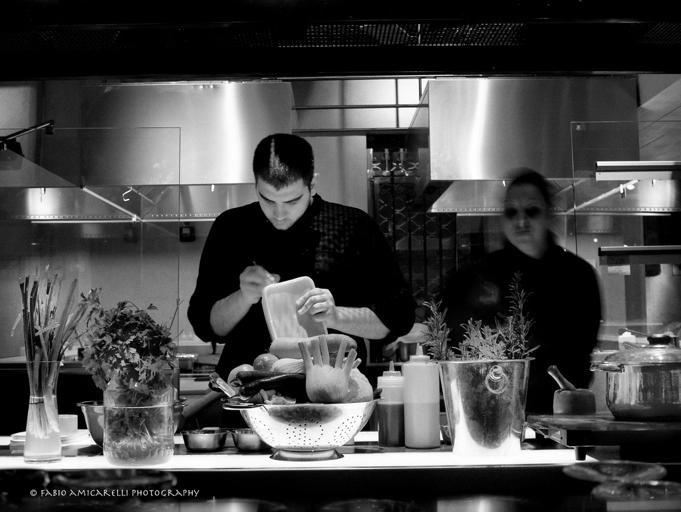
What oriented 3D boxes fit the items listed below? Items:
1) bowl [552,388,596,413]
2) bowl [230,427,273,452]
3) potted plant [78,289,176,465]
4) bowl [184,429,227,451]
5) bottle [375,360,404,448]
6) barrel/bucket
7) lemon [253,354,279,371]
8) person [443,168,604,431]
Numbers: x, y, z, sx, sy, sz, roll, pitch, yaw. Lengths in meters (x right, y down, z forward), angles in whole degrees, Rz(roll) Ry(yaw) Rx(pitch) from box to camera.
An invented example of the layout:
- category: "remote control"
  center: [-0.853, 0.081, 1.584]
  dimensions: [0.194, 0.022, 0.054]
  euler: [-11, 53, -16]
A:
- category: "bowl"
  center: [0.694, 0.430, 2.289]
  dimensions: [0.084, 0.052, 0.084]
  euler: [-2, -8, 0]
- category: "bowl"
  center: [-0.264, 0.523, 2.158]
  dimensions: [0.070, 0.027, 0.071]
  euler: [2, -4, 0]
- category: "potted plant"
  center: [-0.557, 0.345, 2.133]
  dimensions: [0.284, 0.456, 0.265]
  euler: [2, -10, -31]
- category: "bowl"
  center: [-0.386, 0.509, 2.163]
  dimensions: [0.075, 0.029, 0.071]
  euler: [0, -3, 0]
- category: "bottle"
  center: [0.141, 0.435, 2.194]
  dimensions: [0.071, 0.213, 0.046]
  euler: [-1, -2, -3]
- category: "barrel/bucket"
  center: [0.404, 0.423, 2.158]
  dimensions: [0.285, 0.250, 0.288]
  euler: [-1, -8, 0]
- category: "lemon"
  center: [-0.216, 0.294, 2.151]
  dimensions: [0.047, 0.054, 0.047]
  euler: [1, 4, -2]
- category: "person"
  center: [0.968, 0.326, 3.767]
  dimensions: [0.601, 1.394, 0.526]
  euler: [-6, 17, 26]
